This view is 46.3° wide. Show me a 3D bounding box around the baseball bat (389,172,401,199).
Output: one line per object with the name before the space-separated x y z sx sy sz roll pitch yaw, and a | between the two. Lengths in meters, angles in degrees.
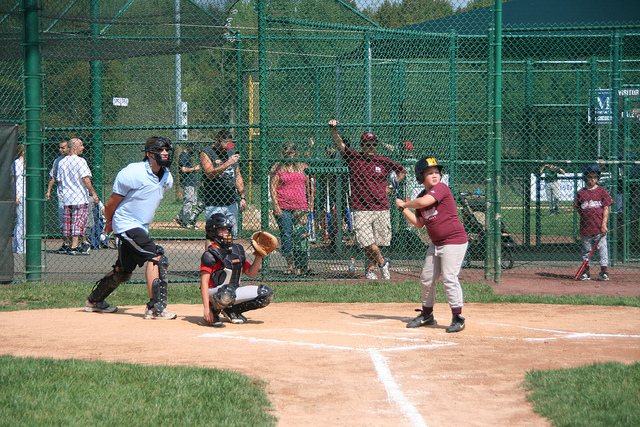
baseball bat | 1.332 -0.485 12.903 0.077 0.404 0.165 -23 7 -41

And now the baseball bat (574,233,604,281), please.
baseball bat | 5.006 0.836 13.911 0.113 1.044 0.107 48 -14 -24

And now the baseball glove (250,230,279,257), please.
baseball glove | -0.869 0.361 10.761 0.361 0.167 0.393 -31 -8 26

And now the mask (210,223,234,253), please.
mask | -1.323 0.324 10.379 0.358 0.351 0.304 -6 -5 39

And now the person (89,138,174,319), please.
person | -2.679 0.213 10.726 1.062 2.568 0.509 1 12 3

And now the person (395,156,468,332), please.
person | 1.613 0.440 10.424 0.877 2.354 0.609 3 12 11

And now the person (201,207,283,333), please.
person | -1.176 0.805 10.538 1.117 1.560 0.913 -3 0 -29

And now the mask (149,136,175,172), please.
mask | -2.347 -0.908 10.710 0.420 0.423 0.350 10 8 33
